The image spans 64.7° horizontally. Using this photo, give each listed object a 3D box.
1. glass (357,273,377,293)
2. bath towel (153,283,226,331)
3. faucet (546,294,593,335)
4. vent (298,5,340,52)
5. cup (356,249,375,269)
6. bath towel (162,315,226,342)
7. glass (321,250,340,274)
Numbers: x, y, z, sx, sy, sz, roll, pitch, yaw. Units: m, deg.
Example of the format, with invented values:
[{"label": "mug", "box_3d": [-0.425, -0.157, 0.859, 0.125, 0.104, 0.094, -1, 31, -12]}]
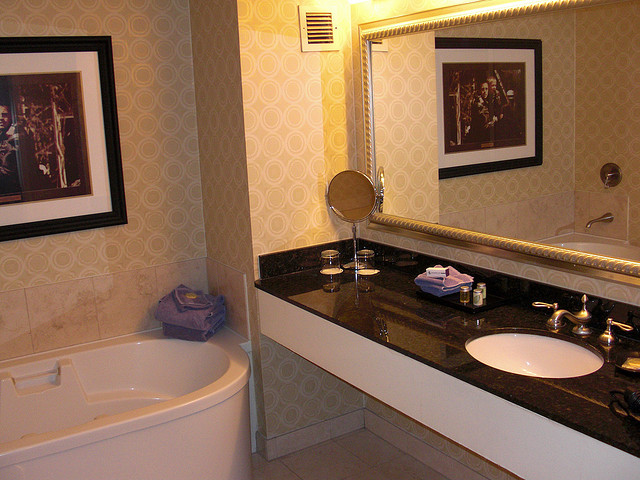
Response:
[{"label": "glass", "box_3d": [0.237, 0.232, 2.673, 0.074, 0.063, 0.079, 1, 1, 13]}, {"label": "bath towel", "box_3d": [-0.785, 0.411, 3.028, 0.397, 0.185, 0.228, -1, 15, 6]}, {"label": "faucet", "box_3d": [0.974, 0.292, 1.988, 0.182, 0.147, 0.081, -1, 11, 6]}, {"label": "vent", "box_3d": [-0.006, -1.159, 2.769, 0.248, 0.239, 0.045, -12, 17, -32]}, {"label": "cup", "box_3d": [0.260, 0.109, 2.914, 0.094, 0.117, 0.098, 0, 4, 0]}, {"label": "bath towel", "box_3d": [-0.744, 0.503, 2.983, 0.322, 0.115, 0.282, -5, 14, -29]}, {"label": "glass", "box_3d": [0.054, 0.117, 2.854, 0.103, 0.126, 0.117, -2, 15, 1]}]
